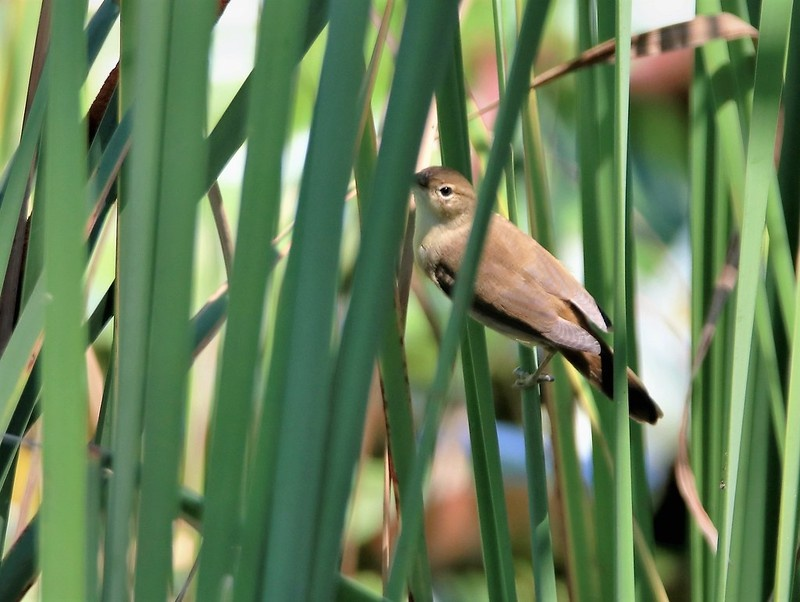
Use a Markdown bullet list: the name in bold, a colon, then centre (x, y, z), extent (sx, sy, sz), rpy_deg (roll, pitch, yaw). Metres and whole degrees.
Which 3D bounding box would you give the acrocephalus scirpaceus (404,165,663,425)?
- **acrocephalus scirpaceus**: centre (0.243, -0.015, 2.589), extent (0.426, 0.699, 0.384), rpy_deg (-2, -33, 0)
